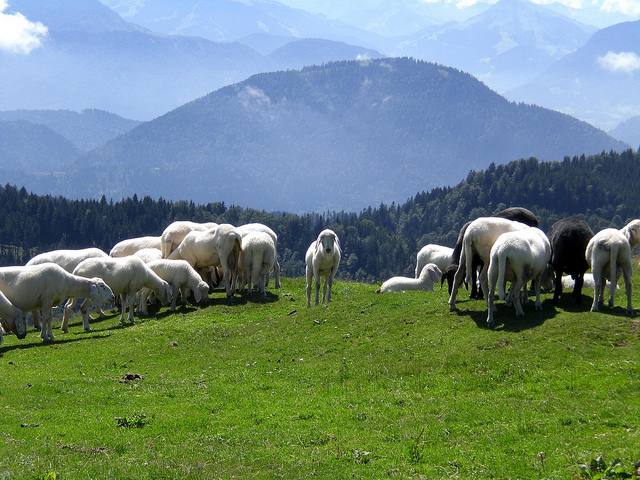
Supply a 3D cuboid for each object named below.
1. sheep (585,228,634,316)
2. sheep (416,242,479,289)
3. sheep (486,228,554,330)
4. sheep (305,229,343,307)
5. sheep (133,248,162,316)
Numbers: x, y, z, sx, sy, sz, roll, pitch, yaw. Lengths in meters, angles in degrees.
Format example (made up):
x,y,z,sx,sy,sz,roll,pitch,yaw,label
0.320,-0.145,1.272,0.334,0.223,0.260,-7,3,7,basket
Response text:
x,y,z,sx,sy,sz,roll,pitch,yaw,label
12.397,1.432,28.807,1.949,3.342,3.046,2,15,21,sheep
7.072,1.525,37.436,2.597,2.390,1.979,-1,7,10,sheep
8.289,1.540,28.403,1.793,3.512,4.115,9,19,41,sheep
0.086,1.714,37.340,1.527,4.039,5.735,2,-9,-10,sheep
-10.521,2.733,41.560,1.379,4.144,1.474,3,9,39,sheep
